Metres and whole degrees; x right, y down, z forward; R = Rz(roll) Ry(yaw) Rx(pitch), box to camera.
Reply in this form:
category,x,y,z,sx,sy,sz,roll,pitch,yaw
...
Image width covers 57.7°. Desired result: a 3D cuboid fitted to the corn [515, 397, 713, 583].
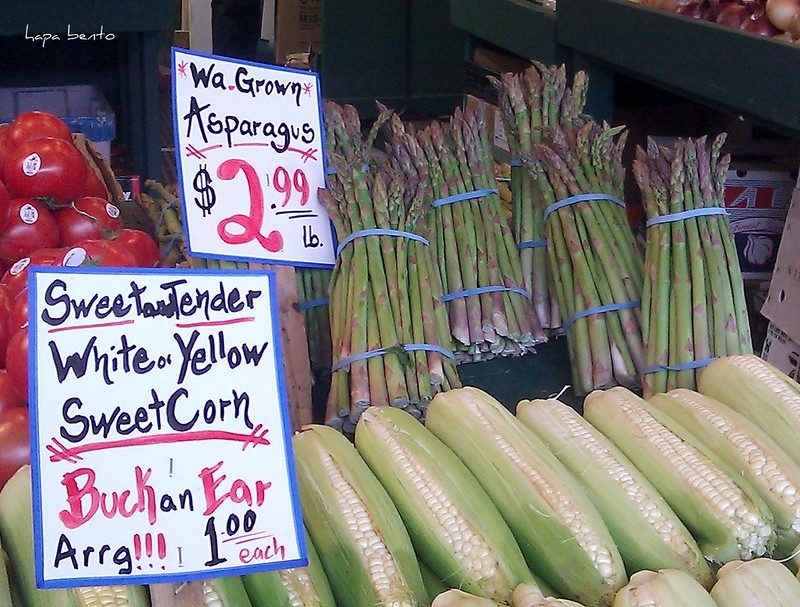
category,x,y,z,sx,sy,sz,roll,pitch,yaw
corn,0.471,0.408,1.645,0.164,0.594,0.174,-32,-18,-15

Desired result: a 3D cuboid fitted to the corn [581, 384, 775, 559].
category,x,y,z,sx,sy,sz,roll,pitch,yaw
corn,0.606,0.362,1.714,0.152,0.169,0.527,-2,36,-32

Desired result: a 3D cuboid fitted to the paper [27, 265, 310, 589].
category,x,y,z,sx,sy,sz,roll,pitch,yaw
paper,-0.462,0.248,1.391,0.544,0.747,0.036,-2,-18,-19
